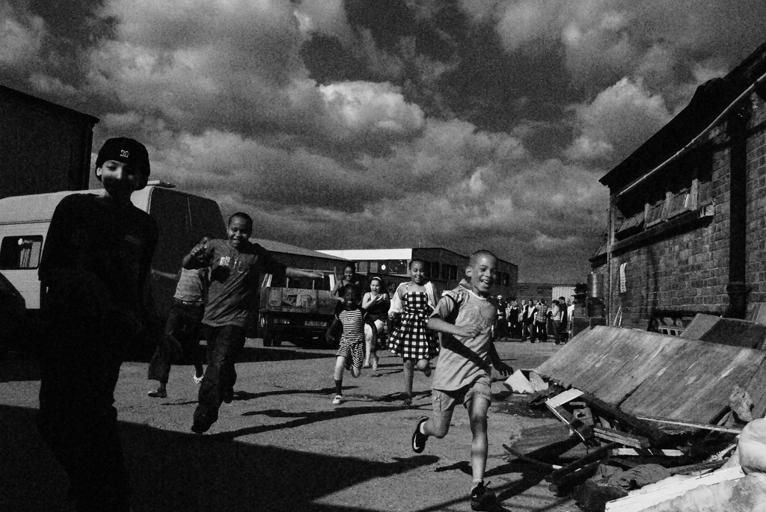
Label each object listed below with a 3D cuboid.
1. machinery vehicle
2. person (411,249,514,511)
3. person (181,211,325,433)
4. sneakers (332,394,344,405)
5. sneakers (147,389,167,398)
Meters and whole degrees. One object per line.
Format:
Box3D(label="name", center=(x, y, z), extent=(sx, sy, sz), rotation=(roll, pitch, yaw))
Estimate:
Box3D(label="machinery vehicle", center=(-3.030, 1.741, 17.868), extent=(2.628, 2.418, 4.491), rotation=(5, -8, -23))
Box3D(label="person", center=(0.750, 0.999, 4.621), extent=(0.747, 1.593, 0.968), rotation=(6, -3, 10))
Box3D(label="person", center=(-1.844, 0.741, 6.070), extent=(0.792, 2.457, 0.977), rotation=(5, -4, 35))
Box3D(label="sneakers", center=(-0.682, 2.135, 7.755), extent=(0.169, 0.132, 0.286), rotation=(8, -4, -4))
Box3D(label="sneakers", center=(-3.276, 1.977, 7.412), extent=(0.278, 0.135, 0.100), rotation=(6, -18, 5))
